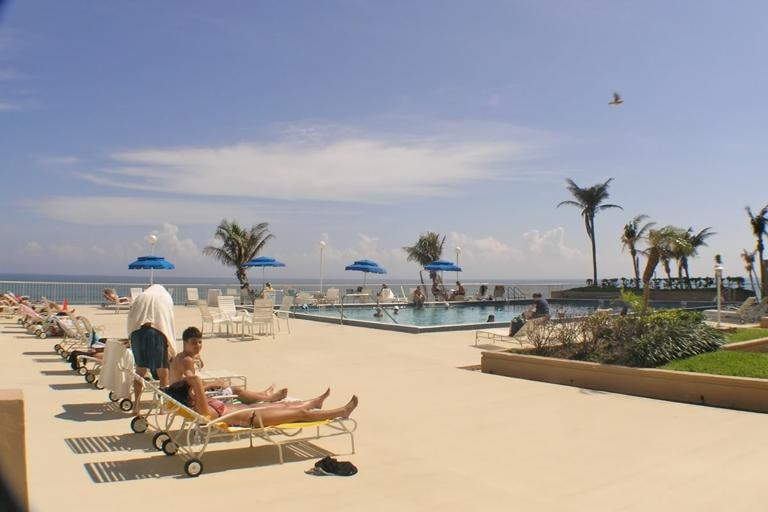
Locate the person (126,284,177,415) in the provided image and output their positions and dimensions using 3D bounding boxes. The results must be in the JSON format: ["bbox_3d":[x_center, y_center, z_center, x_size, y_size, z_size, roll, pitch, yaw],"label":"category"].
[{"bbox_3d":[-3.807,1.471,9.563,0.896,2.053,0.711,-4,-6,17],"label":"person"}]

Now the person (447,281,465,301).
[{"bbox_3d":[3.891,1.837,30.582,0.724,0.896,1.262,3,7,30],"label":"person"}]

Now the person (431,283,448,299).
[{"bbox_3d":[2.963,1.916,30.390,0.861,0.618,0.792,0,6,6],"label":"person"}]

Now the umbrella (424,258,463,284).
[{"bbox_3d":[3.324,0.657,32.207,2.048,0.707,1.983,3,0,3],"label":"umbrella"}]

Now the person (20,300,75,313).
[{"bbox_3d":[-11.400,1.695,19.458,1.499,0.436,0.900,2,-3,-11],"label":"person"}]

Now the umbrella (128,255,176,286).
[{"bbox_3d":[-10.211,0.569,25.400,1.190,1.260,1.755,-7,8,-44],"label":"umbrella"}]

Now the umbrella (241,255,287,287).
[{"bbox_3d":[-5.677,0.365,27.601,1.345,0.734,3.160,-3,6,-21],"label":"umbrella"}]

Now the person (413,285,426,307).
[{"bbox_3d":[1.656,1.946,28.044,0.486,0.822,1.251,-1,6,1],"label":"person"}]

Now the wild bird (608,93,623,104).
[{"bbox_3d":[8.636,-5.831,21.515,0.469,0.475,0.760,1,6,20],"label":"wild bird"}]

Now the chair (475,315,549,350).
[{"bbox_3d":[3.235,1.999,15.053,0.846,0.833,1.549,1,-1,-31],"label":"chair"}]

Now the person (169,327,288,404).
[{"bbox_3d":[-2.453,1.843,9.061,1.934,1.227,0.685,12,-15,-35],"label":"person"}]
